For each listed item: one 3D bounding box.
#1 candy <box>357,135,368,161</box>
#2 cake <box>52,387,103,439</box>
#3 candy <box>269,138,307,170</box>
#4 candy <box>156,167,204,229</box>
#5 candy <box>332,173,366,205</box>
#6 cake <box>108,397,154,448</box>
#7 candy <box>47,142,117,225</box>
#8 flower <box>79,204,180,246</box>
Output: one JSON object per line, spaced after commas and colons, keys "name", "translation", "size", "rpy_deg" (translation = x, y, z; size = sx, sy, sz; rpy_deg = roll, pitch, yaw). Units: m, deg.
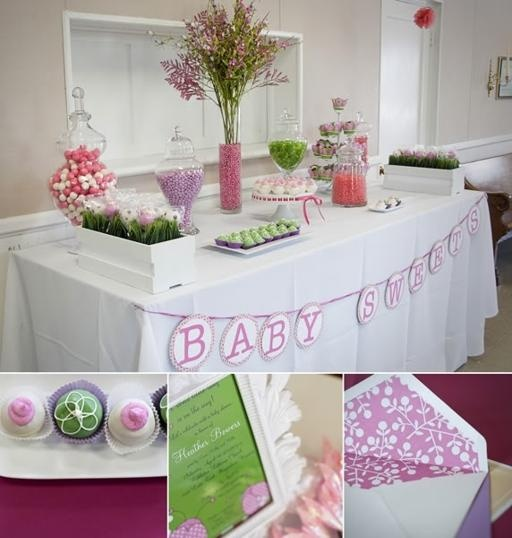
{"name": "candy", "translation": [0.589, -0.673, 2.519], "size": [0.061, 0.143, 0.103], "rpy_deg": [-4, 11, -1]}
{"name": "cake", "translation": [-0.337, 0.271, 0.862], "size": [0.088, 0.076, 0.057], "rpy_deg": [-3, 12, 6]}
{"name": "candy", "translation": [0.152, -0.539, 2.189], "size": [0.137, 0.147, 0.141], "rpy_deg": [-6, 7, -23]}
{"name": "candy", "translation": [-0.265, -0.254, 1.738], "size": [0.197, 0.278, 0.227], "rpy_deg": [-4, 6, 1]}
{"name": "candy", "translation": [0.452, -0.387, 2.216], "size": [0.144, 0.152, 0.148], "rpy_deg": [7, 14, 36]}
{"name": "cake", "translation": [-0.232, 0.283, 0.847], "size": [0.094, 0.061, 0.083], "rpy_deg": [-5, 12, -6]}
{"name": "candy", "translation": [-0.559, -0.308, 1.505], "size": [0.209, 0.281, 0.220], "rpy_deg": [22, 27, 40]}
{"name": "flower", "translation": [-0.367, -0.131, 1.266], "size": [0.363, 0.101, 0.119], "rpy_deg": [4, 14, 34]}
